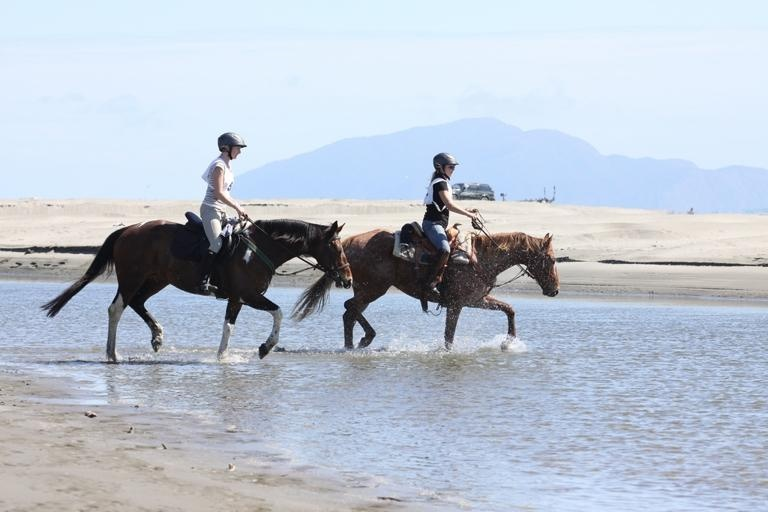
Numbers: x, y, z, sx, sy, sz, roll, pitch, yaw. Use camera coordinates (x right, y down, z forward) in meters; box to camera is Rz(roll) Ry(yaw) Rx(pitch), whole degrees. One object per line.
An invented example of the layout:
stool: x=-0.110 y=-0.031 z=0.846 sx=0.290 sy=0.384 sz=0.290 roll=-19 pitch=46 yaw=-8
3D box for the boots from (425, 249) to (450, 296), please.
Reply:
boots: x=1.096 y=0.375 z=23.027 sx=0.465 sy=0.991 sz=0.382 roll=-1 pitch=9 yaw=-15

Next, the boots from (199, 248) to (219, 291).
boots: x=-3.408 y=0.310 z=21.437 sx=0.228 sy=0.865 sz=0.377 roll=8 pitch=11 yaw=35

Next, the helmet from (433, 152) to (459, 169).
helmet: x=1.268 y=-1.997 z=23.032 sx=0.588 sy=0.267 sz=0.410 roll=-3 pitch=1 yaw=23
